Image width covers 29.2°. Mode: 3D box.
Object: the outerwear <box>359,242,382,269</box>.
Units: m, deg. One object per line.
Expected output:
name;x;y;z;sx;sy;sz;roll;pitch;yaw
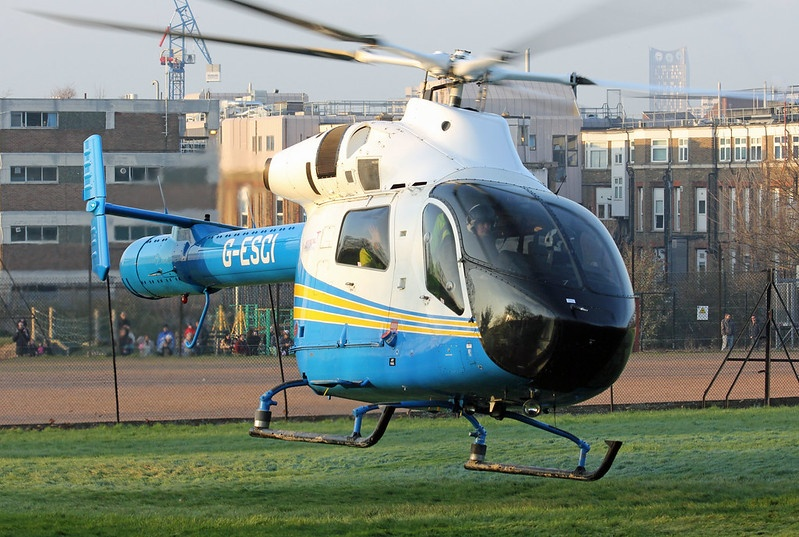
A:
outerwear;-0.713;-0.292;36.766;0.432;0.662;0.313;10;43;37

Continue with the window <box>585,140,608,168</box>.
window;12.258;-7.100;94.741;1.840;1.656;0.212;3;11;31

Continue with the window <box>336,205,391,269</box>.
window;-0.823;-0.754;36.843;1.608;1.577;0.150;4;4;32
